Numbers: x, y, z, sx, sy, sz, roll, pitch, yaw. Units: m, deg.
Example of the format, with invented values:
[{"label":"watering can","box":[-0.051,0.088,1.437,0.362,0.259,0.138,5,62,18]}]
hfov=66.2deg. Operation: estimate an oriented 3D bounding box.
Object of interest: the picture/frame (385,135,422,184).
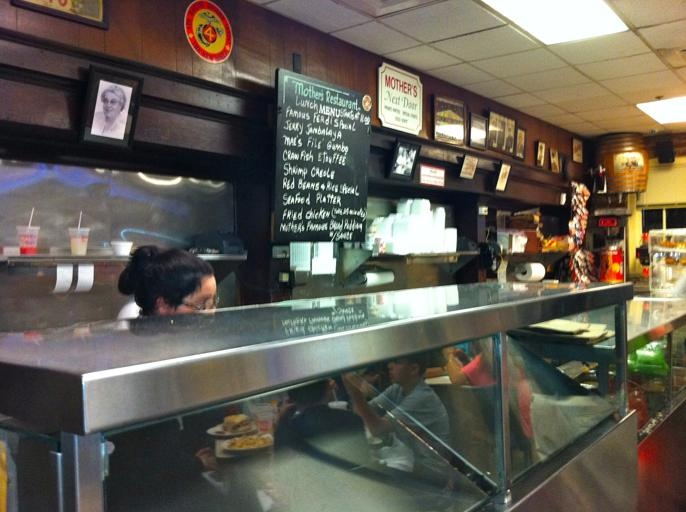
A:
[{"label":"picture/frame","box":[0.473,-0.783,4.208,0.047,0.314,0.350,19,0,34]}]

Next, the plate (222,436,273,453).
[{"label":"plate","box":[-0.194,0.370,1.041,0.056,0.010,0.052,-8,-8,25]}]

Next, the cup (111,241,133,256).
[{"label":"cup","box":[-1.221,-0.042,2.892,0.084,0.058,0.086,0,-4,0]}]

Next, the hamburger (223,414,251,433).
[{"label":"hamburger","box":[-0.204,0.316,1.003,0.040,0.023,0.045,1,-3,30]}]

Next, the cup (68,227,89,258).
[{"label":"cup","box":[-1.402,-0.082,2.787,0.080,0.136,0.209,-2,9,-29]}]
